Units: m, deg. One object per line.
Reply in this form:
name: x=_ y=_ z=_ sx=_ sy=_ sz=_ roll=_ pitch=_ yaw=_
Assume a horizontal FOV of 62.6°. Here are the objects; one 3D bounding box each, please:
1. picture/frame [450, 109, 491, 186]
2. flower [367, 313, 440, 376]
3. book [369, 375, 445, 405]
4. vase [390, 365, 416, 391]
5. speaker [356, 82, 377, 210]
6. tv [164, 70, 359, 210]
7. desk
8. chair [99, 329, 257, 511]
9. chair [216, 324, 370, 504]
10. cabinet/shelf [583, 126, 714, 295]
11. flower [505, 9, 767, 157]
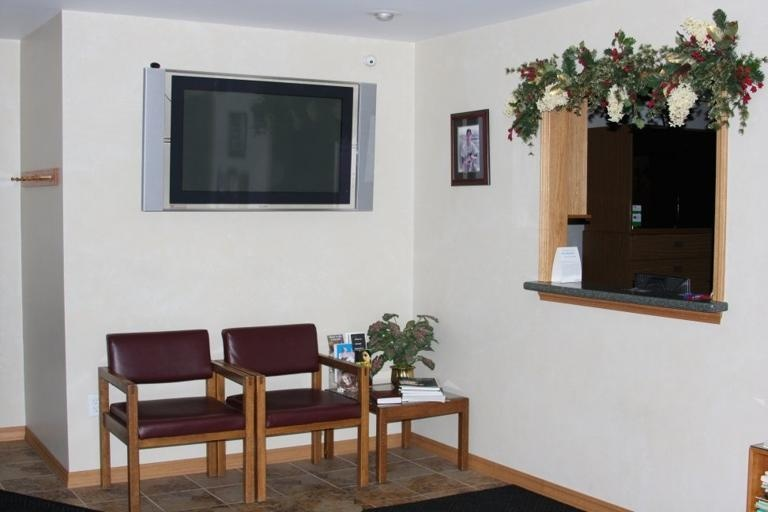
picture/frame: x=0.672 y=-0.836 z=4.861 sx=0.055 sy=0.563 sz=0.391 roll=-8 pitch=11 yaw=-40
flower: x=0.127 y=0.693 z=5.007 sx=0.515 sy=0.456 sz=0.236 roll=-1 pitch=8 yaw=-3
book: x=0.183 y=1.033 z=4.825 sx=0.558 sy=0.137 sz=0.346 roll=-1 pitch=8 yaw=-2
vase: x=0.145 y=0.980 z=4.970 sx=0.159 sy=0.117 sz=0.157 roll=1 pitch=-6 yaw=-3
speaker: x=-0.146 y=-0.877 z=5.061 sx=0.190 sy=1.004 sz=0.052 roll=-7 pitch=10 yaw=-33
tv: x=-0.973 y=-0.885 z=4.724 sx=1.170 sy=0.773 sz=0.057 roll=0 pitch=2 yaw=-24
desk: x=0.295 y=1.440 z=4.934 sx=0.809 sy=0.480 sz=0.775 roll=-1 pitch=-16 yaw=-14
chair: x=-1.476 y=1.002 z=4.546 sx=1.119 sy=1.404 sz=1.154 roll=0 pitch=0 yaw=-27
chair: x=-0.695 y=1.108 z=4.607 sx=1.032 sy=1.083 sz=1.007 roll=1 pitch=-1 yaw=-28
cabinet/shelf: x=2.204 y=-0.249 z=4.741 sx=0.424 sy=1.045 sz=0.641 roll=-12 pitch=11 yaw=-44
flower: x=1.473 y=-1.077 z=3.785 sx=1.142 sy=0.531 sz=0.324 roll=5 pitch=-5 yaw=39
